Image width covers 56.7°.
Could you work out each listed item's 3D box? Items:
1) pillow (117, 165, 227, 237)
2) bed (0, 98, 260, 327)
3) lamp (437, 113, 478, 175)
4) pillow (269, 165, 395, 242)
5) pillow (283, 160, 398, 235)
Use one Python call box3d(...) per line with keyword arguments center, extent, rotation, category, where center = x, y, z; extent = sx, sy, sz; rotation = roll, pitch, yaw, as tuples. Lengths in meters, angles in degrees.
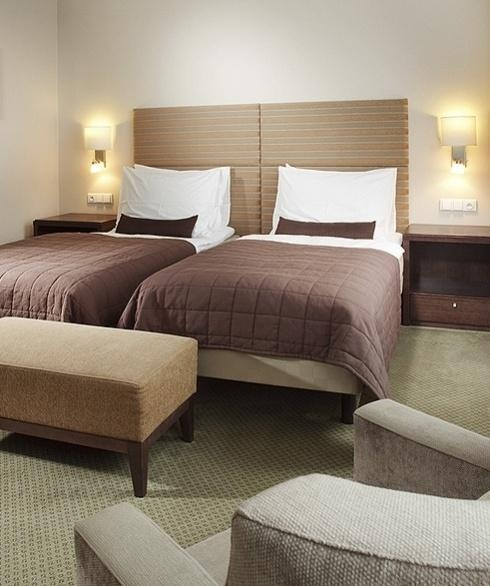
box3d(center=(-0.650, -0.823, 4.172), extent=(0.786, 0.566, 0.114), rotation=(0, -9, 12), category="pillow")
box3d(center=(-0.822, -0.589, 5.488), extent=(2.704, 2.525, 1.873), rotation=(2, 5, 20), category="bed")
box3d(center=(1.749, -1.238, 3.755), extent=(0.304, 0.482, 0.196), rotation=(4, 12, 22), category="lamp")
box3d(center=(0.759, -0.733, 3.797), extent=(0.773, 0.554, 0.090), rotation=(4, -14, 19), category="pillow")
box3d(center=(0.821, -0.776, 3.825), extent=(0.741, 0.511, 0.101), rotation=(2, -13, 17), category="pillow")
